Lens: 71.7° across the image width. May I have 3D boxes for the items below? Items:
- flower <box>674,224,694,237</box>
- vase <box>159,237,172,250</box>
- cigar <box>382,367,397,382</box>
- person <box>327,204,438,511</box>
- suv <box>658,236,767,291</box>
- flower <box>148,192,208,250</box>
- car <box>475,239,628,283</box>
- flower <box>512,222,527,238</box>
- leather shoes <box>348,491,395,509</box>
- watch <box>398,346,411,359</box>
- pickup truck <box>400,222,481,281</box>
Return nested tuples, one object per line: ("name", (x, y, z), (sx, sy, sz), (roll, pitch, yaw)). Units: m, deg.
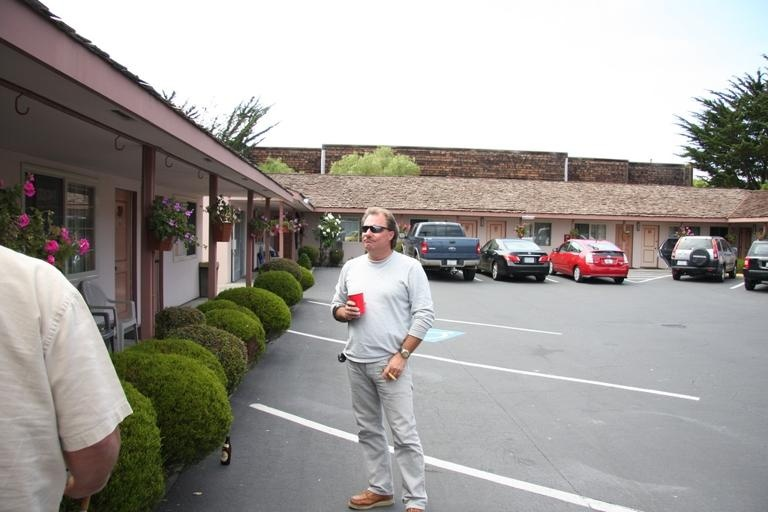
("flower", (15.381, -1.282, 27.273), (0.922, 0.743, 1.135), (-1, 4, -22))
("vase", (-2.878, -0.160, 6.997), (0.160, 0.123, 0.167), (0, -3, -2))
("cigar", (0.047, 0.909, 4.034), (0.042, 0.080, 0.107), (-36, 47, -28))
("person", (-0.025, 0.805, 4.164), (0.874, 2.368, 0.453), (4, 2, 14))
("suv", (12.195, 0.142, 19.244), (2.491, 0.928, 2.492), (-3, 4, -36))
("flower", (-2.841, -0.423, 7.036), (0.432, 0.668, 0.984), (3, 2, 9))
("car", (6.231, 0.146, 19.670), (4.690, 1.198, 2.511), (3, 2, 2))
("flower", (6.931, -1.338, 26.568), (0.793, 0.796, 0.757), (-2, -9, 2))
("leather shoes", (-0.099, 1.933, 4.239), (0.340, 0.146, 0.136), (3, -6, -9))
("watch", (0.162, 0.748, 4.073), (0.059, 0.092, 0.096), (-1, 43, -26))
("pickup truck", (2.067, -0.323, 19.717), (1.695, 1.221, 3.169), (1, 5, -7))
